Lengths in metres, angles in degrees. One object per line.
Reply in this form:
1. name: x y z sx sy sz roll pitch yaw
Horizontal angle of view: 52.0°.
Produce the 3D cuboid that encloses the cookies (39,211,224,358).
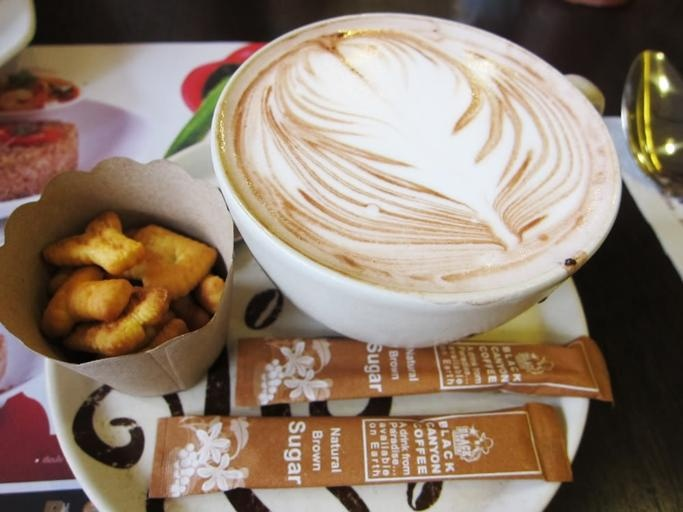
1. cookies: -0.347 0.044 1.131 0.231 0.077 0.247 -13 52 -11
